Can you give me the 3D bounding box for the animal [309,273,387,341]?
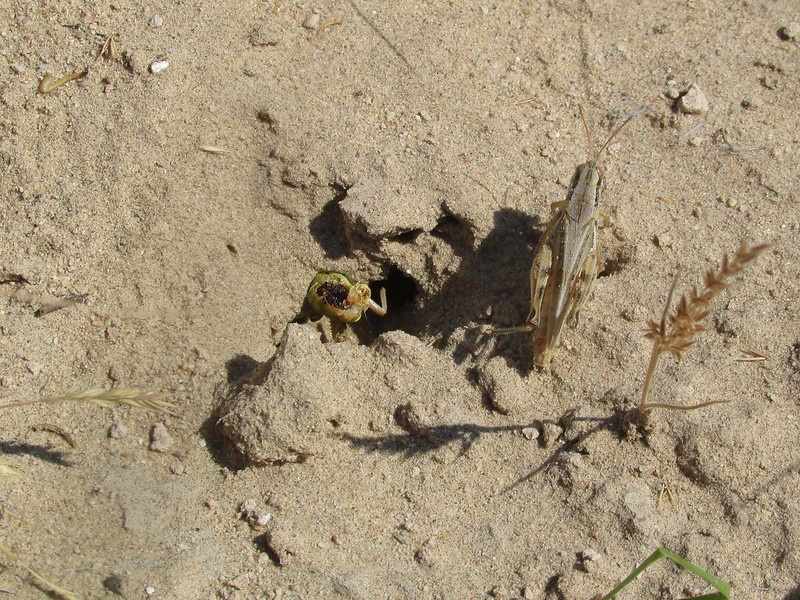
[{"bbox_3d":[-0.392,-0.022,7.355,0.632,0.235,0.409,11,86,1],"label":"animal"}]
